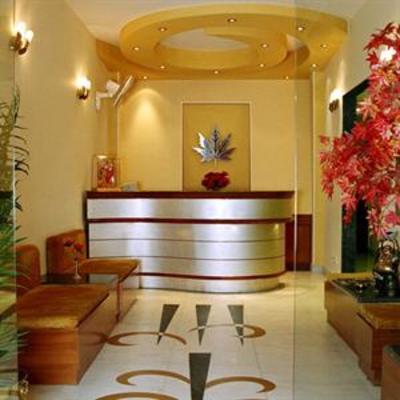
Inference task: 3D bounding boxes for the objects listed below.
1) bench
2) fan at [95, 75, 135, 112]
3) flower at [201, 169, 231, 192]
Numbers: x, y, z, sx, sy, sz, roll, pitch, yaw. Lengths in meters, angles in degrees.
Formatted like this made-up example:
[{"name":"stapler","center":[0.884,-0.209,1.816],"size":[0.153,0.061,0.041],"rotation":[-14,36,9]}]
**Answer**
[{"name":"bench","center":[-1.200,0.811,3.199],"size":[0.803,0.866,1.728],"rotation":[0,0,0]},{"name":"fan","center":[-1.243,-1.566,5.382],"size":[0.604,0.608,0.560],"rotation":[5,19,-5]},{"name":"flower","center":[0.241,-0.303,5.500],"size":[0.355,0.227,0.353],"rotation":[4,8,39]}]
